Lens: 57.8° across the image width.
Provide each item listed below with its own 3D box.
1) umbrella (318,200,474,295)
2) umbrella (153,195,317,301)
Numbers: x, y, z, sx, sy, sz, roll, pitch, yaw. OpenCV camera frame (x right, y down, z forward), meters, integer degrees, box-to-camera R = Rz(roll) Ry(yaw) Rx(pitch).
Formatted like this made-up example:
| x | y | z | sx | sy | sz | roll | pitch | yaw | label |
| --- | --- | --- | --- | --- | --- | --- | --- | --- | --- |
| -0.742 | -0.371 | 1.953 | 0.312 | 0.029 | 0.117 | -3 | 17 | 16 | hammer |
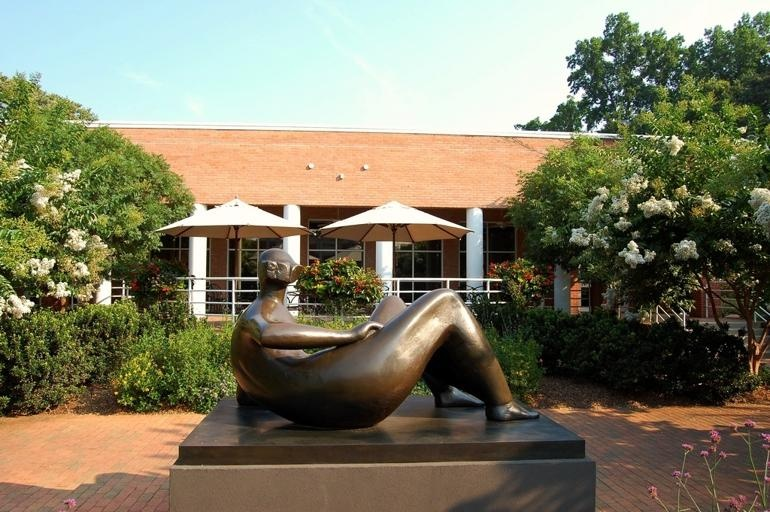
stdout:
| x | y | z | sx | sy | sz | roll | pitch | yaw | label |
| --- | --- | --- | --- | --- | --- | --- | --- | --- | --- |
| 0.211 | -0.698 | 17.127 | 2.906 | 1.194 | 2.806 | 4 | -7 | -43 | umbrella |
| -3.572 | -0.320 | 16.707 | 2.583 | 1.814 | 2.579 | 0 | 0 | -24 | umbrella |
